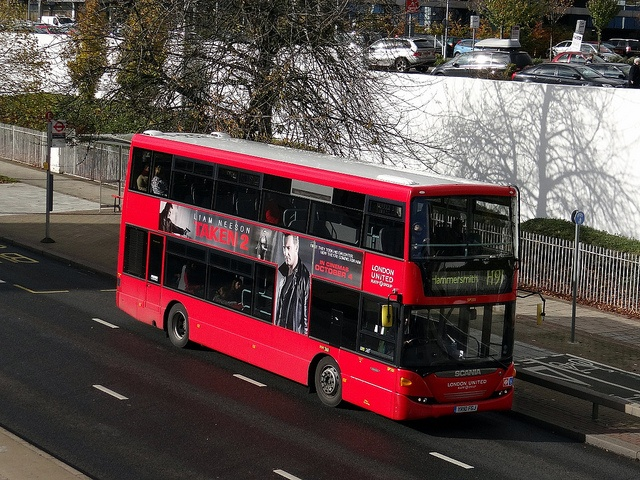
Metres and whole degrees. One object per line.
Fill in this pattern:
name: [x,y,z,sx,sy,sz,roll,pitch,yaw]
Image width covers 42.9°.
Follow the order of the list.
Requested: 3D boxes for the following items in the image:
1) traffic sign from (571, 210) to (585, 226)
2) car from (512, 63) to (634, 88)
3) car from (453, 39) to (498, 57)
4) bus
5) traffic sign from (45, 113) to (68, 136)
traffic sign: [6.487,-0.566,20.464,0.276,0.439,0.851,6,13,16]
car: [11.404,-7.735,37.547,4.643,0.870,2.694,6,13,10]
car: [10.316,-12.725,54.940,2.432,1.381,1.509,-4,14,10]
bus: [-0.649,0.217,18.529,3.739,5.229,10.484,-6,13,-39]
traffic sign: [-8.606,-3.789,26.473,0.630,0.811,0.506,-6,15,-34]
